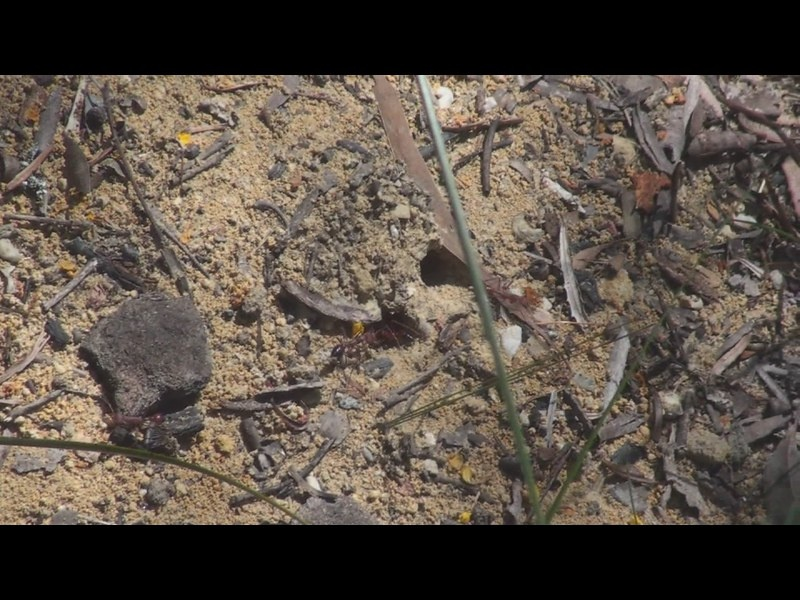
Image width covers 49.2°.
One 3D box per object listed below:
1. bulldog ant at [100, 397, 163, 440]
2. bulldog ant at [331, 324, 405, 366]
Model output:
[{"bbox_3d":[-0.933,0.426,3.022,0.200,0.066,0.101,4,106,-8],"label":"bulldog ant"},{"bbox_3d":[-0.118,0.153,3.125,0.166,0.082,0.168,-31,63,7],"label":"bulldog ant"}]
